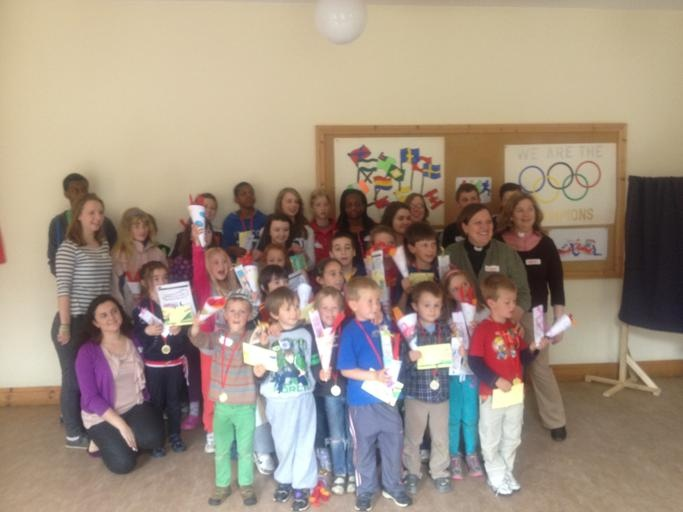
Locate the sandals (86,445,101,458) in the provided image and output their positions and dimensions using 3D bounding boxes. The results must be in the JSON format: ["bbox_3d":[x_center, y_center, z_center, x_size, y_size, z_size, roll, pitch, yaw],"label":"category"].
[{"bbox_3d":[-1.708,1.350,4.090,0.118,0.061,0.038,2,12,20],"label":"sandals"}]

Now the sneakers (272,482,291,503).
[{"bbox_3d":[-0.368,1.469,3.670,0.053,0.067,0.164,3,-9,-1],"label":"sneakers"}]

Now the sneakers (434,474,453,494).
[{"bbox_3d":[0.642,1.430,3.723,0.053,0.056,0.127,-2,17,-9],"label":"sneakers"}]

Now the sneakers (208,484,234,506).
[{"bbox_3d":[-0.750,1.473,3.676,0.120,0.086,0.122,0,12,6],"label":"sneakers"}]

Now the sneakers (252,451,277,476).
[{"bbox_3d":[-0.512,1.335,3.901,0.082,0.084,0.190,-7,27,-41],"label":"sneakers"}]

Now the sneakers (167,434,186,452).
[{"bbox_3d":[-1.146,1.302,4.151,0.062,0.071,0.170,1,5,-33],"label":"sneakers"}]

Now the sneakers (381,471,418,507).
[{"bbox_3d":[0.367,1.453,3.668,0.194,0.120,0.163,-8,13,-26],"label":"sneakers"}]

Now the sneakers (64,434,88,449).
[{"bbox_3d":[-1.856,1.308,4.201,0.179,0.080,0.077,0,4,-12],"label":"sneakers"}]

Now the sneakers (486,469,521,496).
[{"bbox_3d":[1.021,1.417,3.704,0.109,0.069,0.158,-13,7,-23],"label":"sneakers"}]

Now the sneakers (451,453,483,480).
[{"bbox_3d":[0.815,1.352,3.881,0.210,0.127,0.183,-1,11,2],"label":"sneakers"}]

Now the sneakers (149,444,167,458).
[{"bbox_3d":[-1.254,1.330,4.085,0.113,0.079,0.093,-6,12,-20],"label":"sneakers"}]

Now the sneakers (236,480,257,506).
[{"bbox_3d":[-0.567,1.461,3.667,0.097,0.100,0.130,-6,12,-20],"label":"sneakers"}]

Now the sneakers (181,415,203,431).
[{"bbox_3d":[-1.114,1.238,4.411,0.071,0.059,0.137,2,0,18],"label":"sneakers"}]
